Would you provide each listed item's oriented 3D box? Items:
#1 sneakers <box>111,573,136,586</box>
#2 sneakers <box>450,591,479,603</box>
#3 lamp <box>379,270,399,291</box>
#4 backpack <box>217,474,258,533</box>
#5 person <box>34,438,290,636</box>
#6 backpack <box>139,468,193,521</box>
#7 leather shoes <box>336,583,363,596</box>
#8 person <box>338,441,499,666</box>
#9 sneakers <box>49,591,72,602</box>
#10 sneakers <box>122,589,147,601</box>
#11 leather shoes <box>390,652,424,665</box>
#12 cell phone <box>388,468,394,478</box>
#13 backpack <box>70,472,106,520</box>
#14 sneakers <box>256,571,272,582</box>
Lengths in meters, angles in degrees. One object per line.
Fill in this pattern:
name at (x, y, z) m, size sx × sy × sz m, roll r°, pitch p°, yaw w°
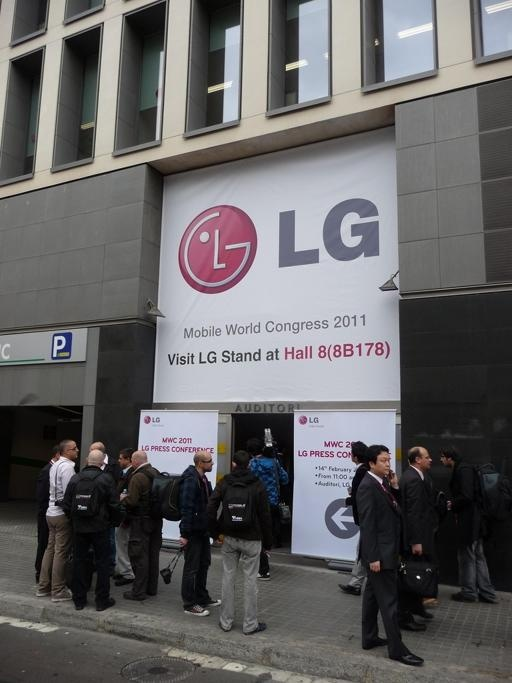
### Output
sneakers at (-1.602, 2.808, 7.111) m, size 0.324 × 0.143 × 0.107 m, roll 20°, pitch -22°, yaw -39°
sneakers at (2.290, 2.787, 6.658) m, size 0.301 × 0.135 × 0.120 m, roll -2°, pitch -6°, yaw 43°
lamp at (1.996, -0.903, 8.939) m, size 0.307 × 0.124 × 0.245 m, roll -11°, pitch 19°, yaw 6°
backpack at (-0.174, 1.481, 5.411) m, size 0.331 × 0.494 × 0.253 m, roll 0°, pitch -8°, yaw 9°
person at (-0.687, 1.874, 6.000) m, size 1.936 × 1.594 × 1.031 m, roll -2°, pitch -9°, yaw 22°
backpack at (-0.938, 1.594, 6.208) m, size 0.380 × 0.674 × 0.483 m, roll 22°, pitch -27°, yaw -40°
leather shoes at (1.072, 2.826, 6.855) m, size 0.233 × 0.183 × 0.126 m, roll 7°, pitch -38°, yaw -3°
person at (1.200, 1.774, 5.361) m, size 0.738 × 1.690 × 1.518 m, roll -1°, pitch -9°, yaw 15°
sneakers at (-2.045, 2.646, 6.302) m, size 0.229 × 0.111 × 0.096 m, roll 2°, pitch -4°, yaw -34°
sneakers at (-1.293, 2.677, 6.397) m, size 0.242 × 0.110 × 0.099 m, roll 7°, pitch -6°, yaw 18°
leather shoes at (1.156, 2.417, 4.628) m, size 0.245 × 0.111 × 0.084 m, roll -15°, pitch -14°, yaw 35°
cell phone at (1.294, 1.269, 5.777) m, size 0.064 × 0.120 × 0.318 m, roll -2°, pitch -12°, yaw 14°
backpack at (-1.709, 1.540, 5.999) m, size 0.280 × 0.501 × 0.265 m, roll 3°, pitch -27°, yaw -13°
sneakers at (0.098, 2.933, 7.531) m, size 0.175 × 0.080 × 0.064 m, roll -1°, pitch -5°, yaw 42°
